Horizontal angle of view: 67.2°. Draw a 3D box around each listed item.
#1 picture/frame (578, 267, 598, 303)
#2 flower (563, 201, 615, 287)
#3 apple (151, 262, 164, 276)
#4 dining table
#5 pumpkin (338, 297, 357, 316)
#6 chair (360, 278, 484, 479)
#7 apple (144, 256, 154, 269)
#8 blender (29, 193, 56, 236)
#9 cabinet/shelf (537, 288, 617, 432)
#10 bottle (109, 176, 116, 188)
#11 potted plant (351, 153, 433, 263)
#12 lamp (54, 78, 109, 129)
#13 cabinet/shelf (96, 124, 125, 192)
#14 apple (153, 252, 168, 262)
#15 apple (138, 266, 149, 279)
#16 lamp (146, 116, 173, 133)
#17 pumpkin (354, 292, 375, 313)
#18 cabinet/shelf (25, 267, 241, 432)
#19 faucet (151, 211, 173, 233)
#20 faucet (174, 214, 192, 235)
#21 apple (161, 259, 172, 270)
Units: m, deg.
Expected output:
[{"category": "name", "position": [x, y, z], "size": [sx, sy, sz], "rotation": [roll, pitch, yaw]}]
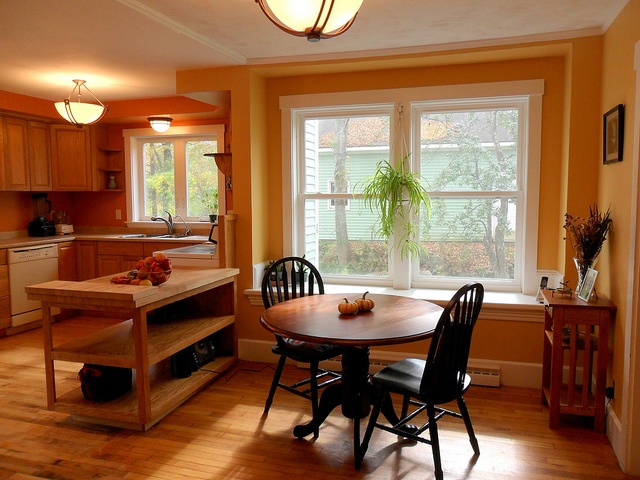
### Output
[{"category": "picture/frame", "position": [1.973, 0.336, 3.564], "size": [0.056, 0.255, 0.232], "rotation": [12, 8, 9]}, {"category": "flower", "position": [2.074, 0.048, 3.792], "size": [0.320, 0.623, 0.544], "rotation": [7, 16, 26]}, {"category": "apple", "position": [-1.278, 0.224, 3.747], "size": [0.084, 0.106, 0.081], "rotation": [-7, 5, 4]}, {"category": "dining table", "position": [0.236, 0.781, 3.343], "size": [1.125, 0.664, 1.097], "rotation": [4, 10, 30]}, {"category": "pumpkin", "position": [0.185, 0.479, 3.400], "size": [0.106, 0.087, 0.101], "rotation": [0, -3, -2]}, {"category": "chair", "position": [0.685, 0.847, 3.166], "size": [0.784, 1.290, 0.708], "rotation": [3, 15, 13]}, {"category": "apple", "position": [-1.371, 0.177, 3.824], "size": [0.085, 0.077, 0.081], "rotation": [-1, 5, 7]}, {"category": "blender", "position": [-3.613, -0.332, 6.201], "size": [0.288, 0.535, 0.434], "rotation": [-4, 15, -13]}, {"category": "cabinet/shelf", "position": [1.923, 0.907, 3.589], "size": [0.496, 0.875, 1.067], "rotation": [0, 4, 17]}, {"category": "bottle", "position": [-2.814, -0.779, 6.475], "size": [0.118, 0.178, 0.197], "rotation": [-7, 15, -23]}, {"category": "potted plant", "position": [0.716, -0.316, 4.673], "size": [0.720, 1.004, 0.492], "rotation": [1, 15, 8]}, {"category": "lamp", "position": [-2.590, -1.460, 5.193], "size": [0.548, 0.463, 0.544], "rotation": [10, 13, 24]}, {"category": "cabinet/shelf", "position": [-2.799, -1.092, 6.419], "size": [0.306, 0.865, 0.402], "rotation": [0, 15, 2]}, {"category": "apple", "position": [-1.275, 0.139, 3.812], "size": [0.092, 0.064, 0.081], "rotation": [-10, 17, -34]}, {"category": "apple", "position": [-1.363, 0.254, 3.701], "size": [0.087, 0.069, 0.076], "rotation": [3, 4, -10]}, {"category": "lamp", "position": [-2.007, -1.448, 5.994], "size": [0.288, 0.182, 0.136], "rotation": [-2, 15, -7]}, {"category": "pumpkin", "position": [0.304, 0.457, 3.513], "size": [0.142, 0.141, 0.146], "rotation": [-4, -2, 31]}, {"category": "cabinet/shelf", "position": [-1.395, 0.826, 4.221], "size": [1.127, 1.039, 1.644], "rotation": [0, 2, 17]}, {"category": "faucet", "position": [-2.061, -0.212, 6.253], "size": [0.267, 0.259, 0.353], "rotation": [-5, 15, -18]}, {"category": "faucet", "position": [-1.798, -0.200, 6.270], "size": [0.132, 0.217, 0.428], "rotation": [-9, 16, -30]}, {"category": "apple", "position": [-1.227, 0.207, 3.845], "size": [0.076, 0.086, 0.077], "rotation": [23, 23, 3]}]
